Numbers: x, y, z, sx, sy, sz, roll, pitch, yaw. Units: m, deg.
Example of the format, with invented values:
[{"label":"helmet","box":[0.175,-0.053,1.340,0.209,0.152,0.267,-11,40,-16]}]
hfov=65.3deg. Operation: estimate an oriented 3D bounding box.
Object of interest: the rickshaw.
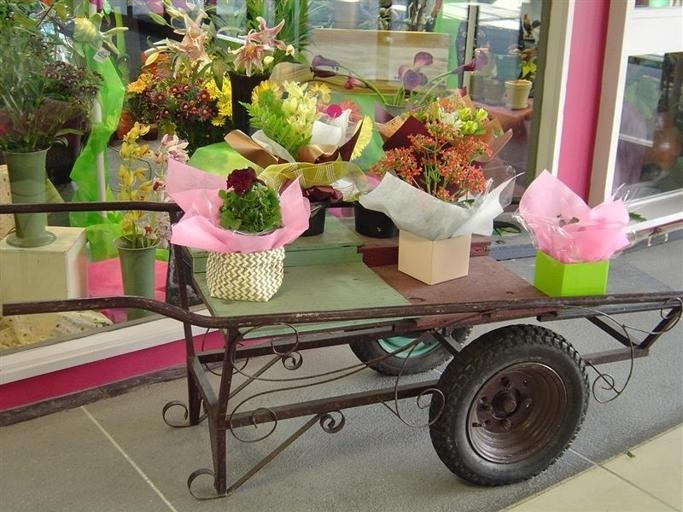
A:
[{"label":"rickshaw","box":[0.127,0.284,1.874,1.900,1.016,0.754,-4,21,-15]}]

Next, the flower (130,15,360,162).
[{"label":"flower","box":[-0.376,-0.616,2.222,0.878,0.463,0.629,16,43,-11]}]

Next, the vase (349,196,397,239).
[{"label":"vase","box":[0.106,-0.147,1.934,0.148,0.086,0.139,13,20,30]}]

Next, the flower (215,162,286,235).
[{"label":"flower","box":[-0.274,-0.157,1.518,0.187,0.174,0.148,1,20,-2]}]

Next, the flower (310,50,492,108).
[{"label":"flower","box":[0.248,-0.860,2.565,0.559,0.190,0.532,-6,25,-20]}]

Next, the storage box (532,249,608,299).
[{"label":"storage box","box":[0.768,0.073,1.787,0.179,0.105,0.174,-8,22,-17]}]

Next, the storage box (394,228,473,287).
[{"label":"storage box","box":[0.324,0.005,1.863,0.205,0.173,0.204,-20,35,-31]}]

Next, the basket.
[{"label":"basket","box":[-0.282,0.058,1.540,0.189,0.123,0.181,2,18,-3]}]

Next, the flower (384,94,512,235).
[{"label":"flower","box":[0.327,-0.298,1.804,0.509,0.405,0.445,-3,27,-1]}]
